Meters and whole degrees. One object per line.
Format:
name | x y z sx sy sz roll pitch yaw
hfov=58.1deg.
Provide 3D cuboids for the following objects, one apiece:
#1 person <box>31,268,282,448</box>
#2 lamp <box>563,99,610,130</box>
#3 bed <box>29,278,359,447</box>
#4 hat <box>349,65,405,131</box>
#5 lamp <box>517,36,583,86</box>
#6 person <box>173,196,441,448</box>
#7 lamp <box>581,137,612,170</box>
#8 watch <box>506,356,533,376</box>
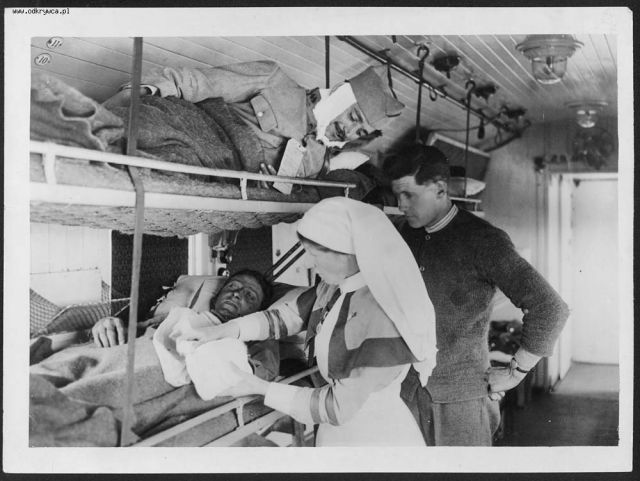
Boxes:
person | -0.741 0.558 2.622 0.892 0.277 0.648 -13 13 -33
lamp | 1.325 -0.628 2.845 0.135 0.101 0.140 1 -3 9
bed | -0.765 0.591 2.606 0.825 0.257 0.625 -16 7 -36
hat | 0.285 -0.738 3.076 0.213 0.332 0.183 -36 11 -7
lamp | 1.111 -0.852 2.791 0.197 0.179 0.204 0 7 15
person | -0.033 0.290 3.490 1.385 2.007 0.882 1 6 -8
lamp | 1.364 -0.429 2.827 0.120 0.153 0.044 6 4 32
watch | 0.985 0.609 2.861 0.090 0.083 0.111 20 17 -3
